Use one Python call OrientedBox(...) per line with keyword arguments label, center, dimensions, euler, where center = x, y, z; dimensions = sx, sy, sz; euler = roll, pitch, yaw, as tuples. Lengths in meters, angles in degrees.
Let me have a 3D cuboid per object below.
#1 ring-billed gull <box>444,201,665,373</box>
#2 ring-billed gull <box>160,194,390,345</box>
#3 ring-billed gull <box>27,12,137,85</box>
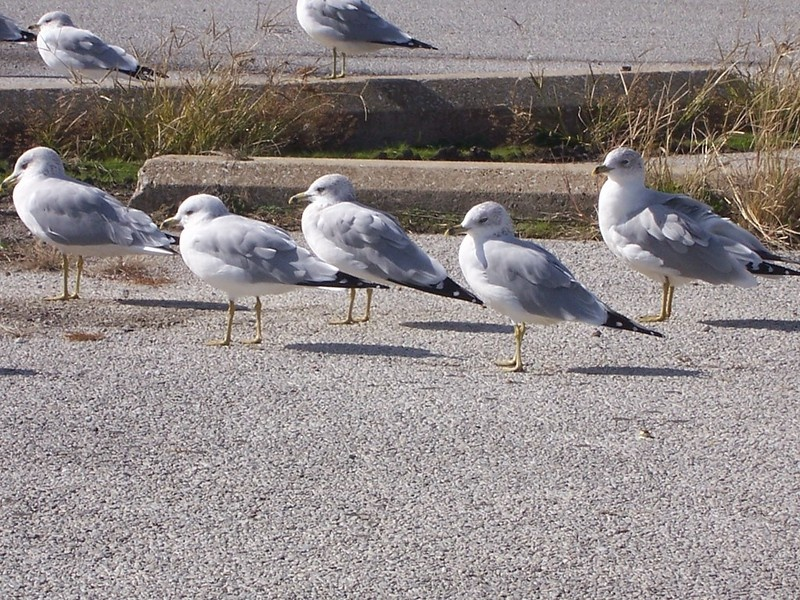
OrientedBox(label="ring-billed gull", center=(0.876, -0.185, 8.148), dimensions=(1.150, 0.719, 0.448), euler=(23, 36, 35))
OrientedBox(label="ring-billed gull", center=(-1.034, -0.197, 8.673), dimensions=(0.777, 0.838, 1.401), euler=(-23, 36, -39))
OrientedBox(label="ring-billed gull", center=(-3.237, -2.592, 12.832), dimensions=(1.279, 0.583, 0.555), euler=(7, 15, -18))
